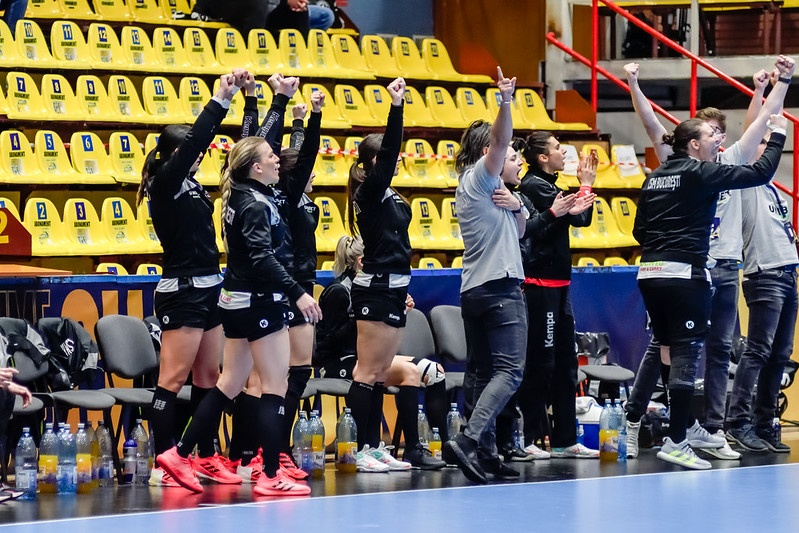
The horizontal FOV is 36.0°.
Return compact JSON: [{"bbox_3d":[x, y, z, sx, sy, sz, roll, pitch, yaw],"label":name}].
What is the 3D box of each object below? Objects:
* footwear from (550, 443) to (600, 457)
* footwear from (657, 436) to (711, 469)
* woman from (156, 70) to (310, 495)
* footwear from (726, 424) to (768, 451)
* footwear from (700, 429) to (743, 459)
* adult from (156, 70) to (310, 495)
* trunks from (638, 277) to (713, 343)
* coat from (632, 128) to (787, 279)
[{"bbox_3d":[1.552,1.604,10.943,0.411,0.173,0.157,-2,-8,13],"label":"footwear"},{"bbox_3d":[2.382,1.603,10.512,0.515,0.252,0.188,13,-7,11],"label":"footwear"},{"bbox_3d":[-1.161,0.397,9.685,1.200,2.801,0.458,-7,-8,29],"label":"woman"},{"bbox_3d":[3.130,1.552,11.105,0.340,0.164,0.168,27,0,20],"label":"footwear"},{"bbox_3d":[2.854,1.590,10.815,0.438,0.209,0.155,24,-7,-17],"label":"footwear"},{"bbox_3d":[-1.159,0.397,9.687,1.196,2.801,0.464,-7,-8,30],"label":"adult"},{"bbox_3d":[2.385,0.419,10.570,0.613,0.659,0.537,-3,-6,21],"label":"trunks"},{"bbox_3d":[2.540,-0.439,10.360,1.156,1.103,0.325,-8,-9,34],"label":"coat"}]
